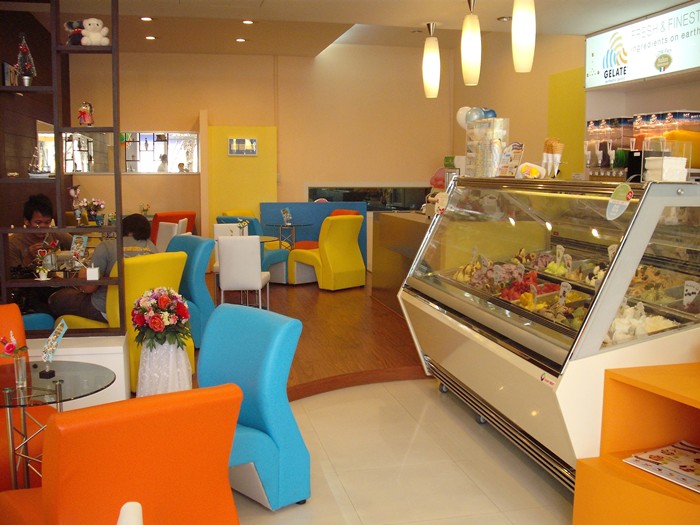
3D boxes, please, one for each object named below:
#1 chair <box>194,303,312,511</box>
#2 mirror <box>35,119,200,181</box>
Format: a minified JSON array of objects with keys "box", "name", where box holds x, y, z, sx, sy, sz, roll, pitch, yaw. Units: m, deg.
[{"box":[-0.402,0.703,3.029,0.765,0.813,0.773,10,2,-32],"name":"chair"},{"box":[-4.418,-2.215,9.657,3.091,1.061,0.070,-1,1,-1],"name":"mirror"}]
